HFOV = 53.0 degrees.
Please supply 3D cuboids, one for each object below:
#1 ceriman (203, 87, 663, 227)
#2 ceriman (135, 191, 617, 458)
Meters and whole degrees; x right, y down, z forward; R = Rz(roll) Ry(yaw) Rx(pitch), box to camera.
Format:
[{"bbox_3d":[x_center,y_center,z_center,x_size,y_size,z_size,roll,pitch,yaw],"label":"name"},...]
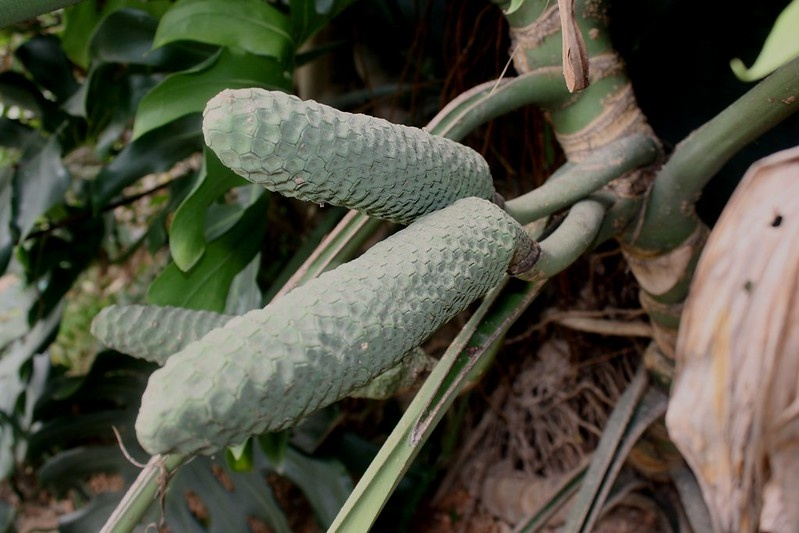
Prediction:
[{"bbox_3d":[0.076,-0.161,1.171,0.143,0.662,0.179,168,113,-66],"label":"ceriman"},{"bbox_3d":[0.016,0.036,1.097,0.709,0.185,0.197,-20,31,-18],"label":"ceriman"}]
